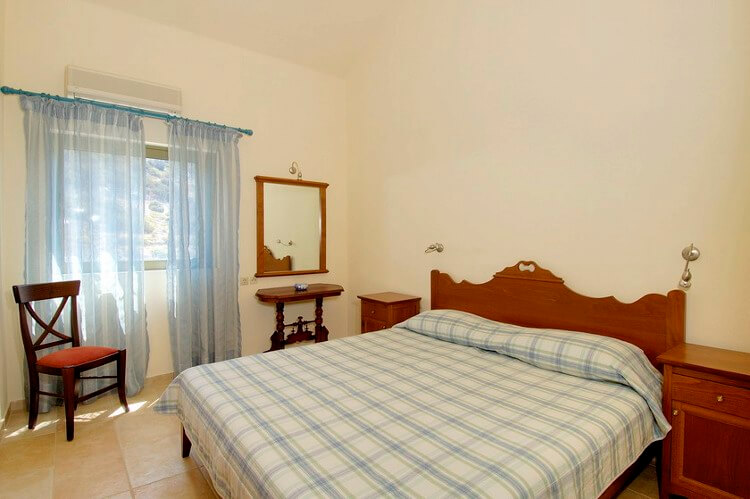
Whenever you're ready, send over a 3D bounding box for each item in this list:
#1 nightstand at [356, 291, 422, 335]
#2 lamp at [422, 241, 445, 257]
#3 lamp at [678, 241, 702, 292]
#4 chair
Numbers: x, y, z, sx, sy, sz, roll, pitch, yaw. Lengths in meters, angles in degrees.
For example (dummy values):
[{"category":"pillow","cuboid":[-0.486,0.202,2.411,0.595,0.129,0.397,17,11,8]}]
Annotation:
[{"category":"nightstand","cuboid":[0.130,0.657,5.525,0.466,0.698,0.548,1,-1,-34]},{"category":"lamp","cuboid":[0.634,-0.010,5.317,0.059,0.131,0.254,-4,7,-40]},{"category":"lamp","cuboid":[2.480,0.150,3.868,0.134,0.370,0.075,4,7,30]},{"category":"chair","cuboid":[-2.799,0.939,4.465,0.833,1.279,0.658,4,6,31]}]
